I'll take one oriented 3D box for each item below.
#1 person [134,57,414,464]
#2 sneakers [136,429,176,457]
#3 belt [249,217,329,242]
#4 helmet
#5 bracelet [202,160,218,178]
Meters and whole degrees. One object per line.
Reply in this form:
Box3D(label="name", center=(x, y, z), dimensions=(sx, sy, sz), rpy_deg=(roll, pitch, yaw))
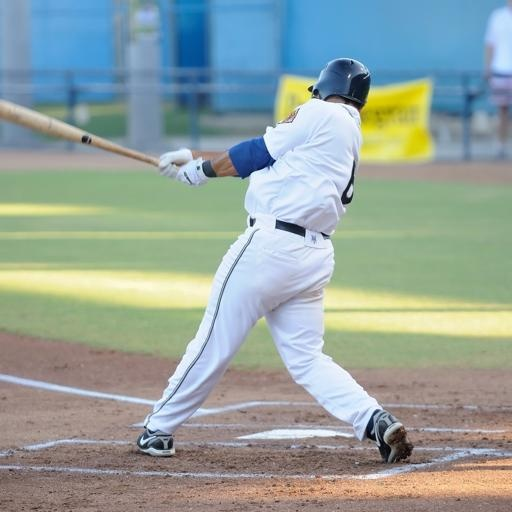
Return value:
Box3D(label="person", center=(0.107, 0.134, 6.666), dimensions=(1.421, 1.860, 0.540), rpy_deg=(2, 12, 6))
Box3D(label="sneakers", center=(-0.533, 0.982, 6.774), dimensions=(0.102, 0.124, 0.237), rpy_deg=(0, 1, -32))
Box3D(label="belt", center=(0.163, -0.137, 6.601), dimensions=(0.417, 0.117, 0.181), rpy_deg=(1, 11, 0))
Box3D(label="helmet", center=(0.437, -0.919, 6.796), dimensions=(0.350, 0.221, 0.232), rpy_deg=(7, 6, 14))
Box3D(label="bracelet", center=(-0.251, -0.450, 6.763), dimensions=(0.068, 0.084, 0.084), rpy_deg=(23, 29, -12))
